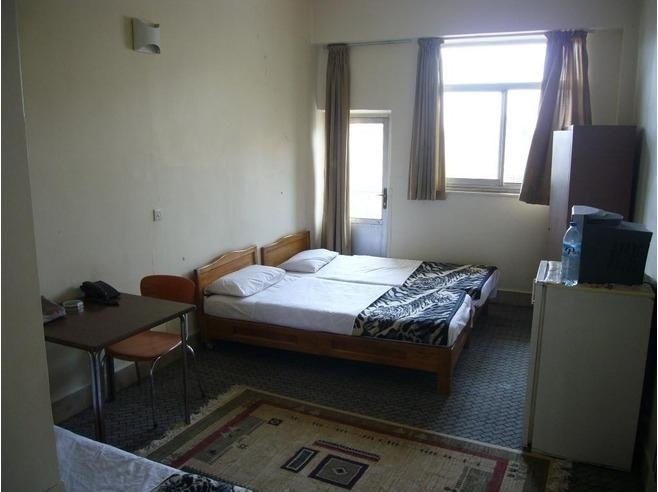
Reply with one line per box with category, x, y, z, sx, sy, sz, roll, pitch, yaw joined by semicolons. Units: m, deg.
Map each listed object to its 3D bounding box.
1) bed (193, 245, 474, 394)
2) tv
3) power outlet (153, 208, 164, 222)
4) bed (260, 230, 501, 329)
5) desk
bed;0.018;0.398;4.525;1.981;0.793;1.172;5;20;21
tv;1.717;-0.026;3.138;0.423;0.465;0.432;1;9;22
power outlet;-1.472;-0.268;4.321;0.013;0.103;0.098;2;14;27
bed;0.612;0.316;5.514;1.897;0.771;1.161;5;21;22
desk;-1.461;0.818;3.420;0.838;0.691;0.845;5;13;20
